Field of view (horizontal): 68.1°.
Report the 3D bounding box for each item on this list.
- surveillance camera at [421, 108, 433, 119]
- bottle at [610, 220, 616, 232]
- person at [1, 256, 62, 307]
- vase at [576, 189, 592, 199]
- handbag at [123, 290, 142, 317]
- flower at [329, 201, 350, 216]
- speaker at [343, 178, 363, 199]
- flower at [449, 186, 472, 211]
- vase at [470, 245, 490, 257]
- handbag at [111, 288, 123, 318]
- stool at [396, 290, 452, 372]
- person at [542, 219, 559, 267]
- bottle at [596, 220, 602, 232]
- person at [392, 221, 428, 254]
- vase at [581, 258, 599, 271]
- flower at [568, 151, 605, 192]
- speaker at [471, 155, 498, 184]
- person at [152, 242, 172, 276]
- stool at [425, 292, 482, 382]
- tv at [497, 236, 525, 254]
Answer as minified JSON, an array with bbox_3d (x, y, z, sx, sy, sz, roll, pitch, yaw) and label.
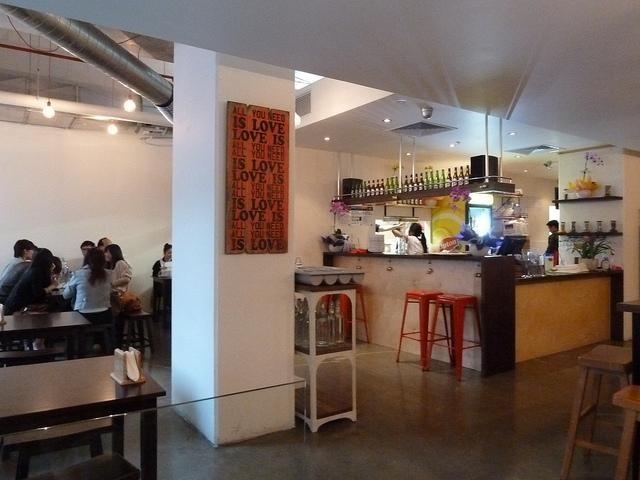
[{"bbox_3d":[1.384,-1.630,6.023,0.146,0.114,0.147,1,0,2],"label":"surveillance camera"},{"bbox_3d":[4.962,-0.248,7.923,0.102,0.195,0.209,2,4,31],"label":"bottle"},{"bbox_3d":[-3.616,0.527,5.896,0.530,0.878,1.044,-2,4,-26],"label":"person"},{"bbox_3d":[4.676,-0.823,8.276,0.227,0.136,0.146,2,4,26],"label":"vase"},{"bbox_3d":[-2.619,0.867,6.456,0.267,0.358,0.127,5,-14,-38],"label":"handbag"},{"bbox_3d":[0.367,-0.588,8.743,0.251,0.188,0.255,1,1,12],"label":"flower"},{"bbox_3d":[0.616,-0.967,8.806,0.221,0.222,0.397,-6,-2,-42],"label":"speaker"},{"bbox_3d":[2.246,-0.681,7.570,0.403,0.407,0.343,8,7,40],"label":"flower"},{"bbox_3d":[2.070,0.132,6.119,0.174,0.109,0.163,-2,-4,31],"label":"vase"},{"bbox_3d":[-2.691,0.809,6.173,0.100,0.275,0.210,1,2,-14],"label":"handbag"},{"bbox_3d":[1.298,1.062,5.878,0.658,0.860,0.653,1,0,2],"label":"stool"},{"bbox_3d":[4.106,0.050,8.270,0.203,0.783,2.001,1,4,27],"label":"person"},{"bbox_3d":[4.826,-0.253,8.094,0.096,0.197,0.300,2,4,30],"label":"bottle"},{"bbox_3d":[1.356,-0.046,7.178,0.520,0.435,1.369,0,4,10],"label":"person"},{"bbox_3d":[4.297,0.372,7.449,0.242,0.167,0.244,1,-1,43],"label":"vase"},{"bbox_3d":[4.753,-1.179,8.344,0.627,0.804,0.603,-1,-2,1],"label":"flower"},{"bbox_3d":[2.359,-1.021,6.731,0.410,0.403,0.767,1,4,18],"label":"speaker"},{"bbox_3d":[-2.869,0.345,8.480,0.313,0.555,1.226,-1,4,-21],"label":"person"},{"bbox_3d":[1.630,1.104,5.608,0.580,0.862,0.580,2,-1,-24],"label":"stool"},{"bbox_3d":[2.431,0.064,5.959,0.236,0.246,0.549,3,4,39],"label":"tv"}]
